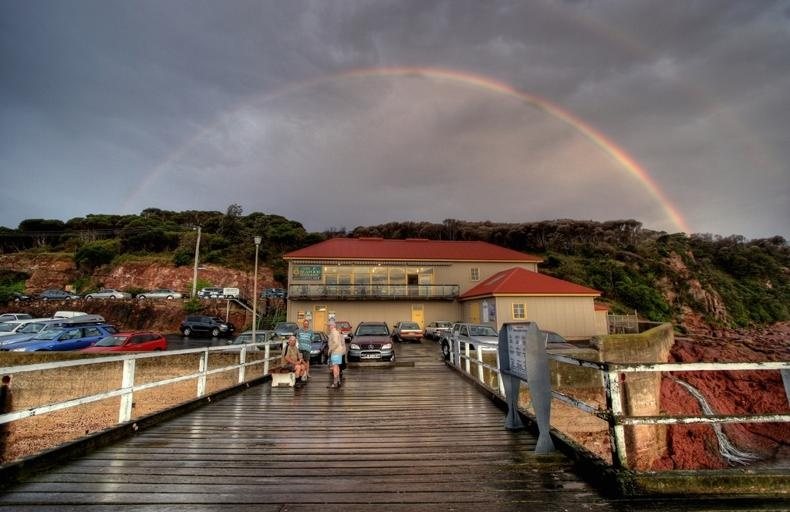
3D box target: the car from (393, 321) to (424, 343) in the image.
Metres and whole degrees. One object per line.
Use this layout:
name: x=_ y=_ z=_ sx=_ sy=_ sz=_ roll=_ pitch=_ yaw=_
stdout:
car: x=0.839 y=5.173 z=28.570 sx=1.260 sy=1.456 sz=2.746 roll=2 pitch=-2 yaw=-10

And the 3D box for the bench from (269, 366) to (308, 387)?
bench: x=-3.284 y=3.819 z=13.630 sx=0.802 sy=0.497 sz=0.760 roll=0 pitch=-2 yaw=2

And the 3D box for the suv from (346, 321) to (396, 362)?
suv: x=-0.928 y=3.804 z=18.173 sx=1.720 sy=1.291 sz=1.954 roll=1 pitch=-2 yaw=2

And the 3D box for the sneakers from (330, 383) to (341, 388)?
sneakers: x=-1.791 y=4.011 z=13.170 sx=0.451 sy=0.159 sz=0.145 roll=4 pitch=-9 yaw=-14

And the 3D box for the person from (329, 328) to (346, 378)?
person: x=-1.791 y=3.016 z=13.274 sx=0.461 sy=1.702 sz=0.756 roll=2 pitch=-2 yaw=-8

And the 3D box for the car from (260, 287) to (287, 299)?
car: x=-12.540 y=3.974 z=45.022 sx=2.228 sy=0.869 sz=1.305 roll=11 pitch=17 yaw=-11

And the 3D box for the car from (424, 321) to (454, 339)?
car: x=3.012 y=5.364 z=30.164 sx=1.426 sy=1.021 sz=3.215 roll=1 pitch=0 yaw=-7

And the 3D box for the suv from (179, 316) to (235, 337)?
suv: x=-15.139 y=5.768 z=34.731 sx=3.456 sy=1.427 sz=1.783 roll=-2 pitch=-5 yaw=-1

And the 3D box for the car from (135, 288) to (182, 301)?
car: x=-23.894 y=4.002 z=44.008 sx=4.290 sy=0.921 sz=2.576 roll=2 pitch=-1 yaw=-11

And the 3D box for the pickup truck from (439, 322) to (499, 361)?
pickup truck: x=3.217 y=3.434 z=18.120 sx=1.866 sy=1.507 sz=3.475 roll=3 pitch=-10 yaw=-21

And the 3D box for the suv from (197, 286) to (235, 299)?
suv: x=-17.488 y=3.709 z=42.211 sx=4.621 sy=1.149 sz=1.432 roll=-3 pitch=1 yaw=12

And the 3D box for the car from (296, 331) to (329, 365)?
car: x=-3.322 y=3.828 z=17.677 sx=1.225 sy=0.887 sz=2.730 roll=0 pitch=-12 yaw=-4
